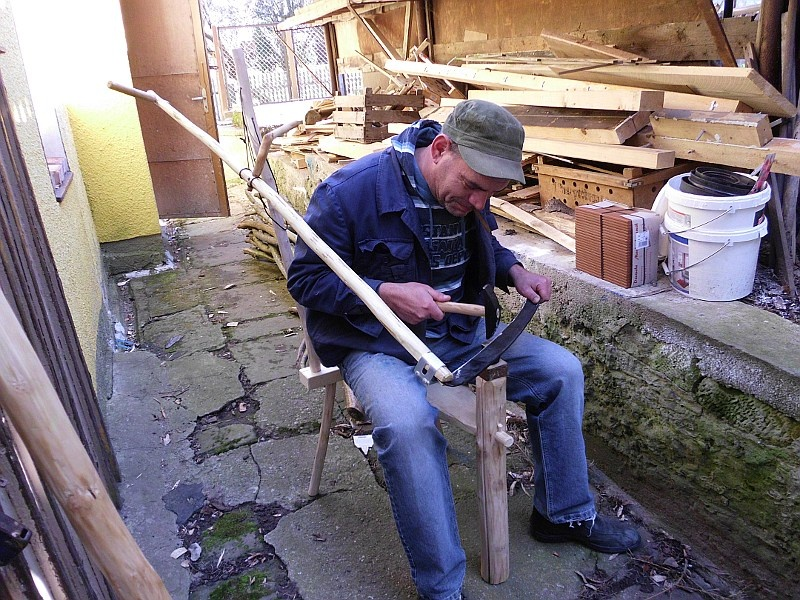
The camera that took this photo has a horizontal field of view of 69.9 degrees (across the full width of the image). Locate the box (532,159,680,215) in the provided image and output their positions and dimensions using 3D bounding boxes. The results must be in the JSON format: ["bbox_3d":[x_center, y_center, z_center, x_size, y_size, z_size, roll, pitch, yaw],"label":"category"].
[{"bbox_3d":[1.336,-0.820,3.772,0.419,0.263,0.671,-19,25,-24],"label":"box"}]

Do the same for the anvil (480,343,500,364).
[{"bbox_3d":[0.343,0.201,2.167,0.066,0.079,0.120,2,11,11],"label":"anvil"}]

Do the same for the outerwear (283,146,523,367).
[{"bbox_3d":[0.029,-0.298,2.824,1.211,1.029,0.680,-15,30,-34],"label":"outerwear"}]

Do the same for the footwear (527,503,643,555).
[{"bbox_3d":[0.864,1.056,2.670,0.450,0.186,0.201,-1,13,4],"label":"footwear"}]

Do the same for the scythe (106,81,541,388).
[{"bbox_3d":[-0.198,-0.275,2.416,1.483,1.045,0.656,13,27,43],"label":"scythe"}]
